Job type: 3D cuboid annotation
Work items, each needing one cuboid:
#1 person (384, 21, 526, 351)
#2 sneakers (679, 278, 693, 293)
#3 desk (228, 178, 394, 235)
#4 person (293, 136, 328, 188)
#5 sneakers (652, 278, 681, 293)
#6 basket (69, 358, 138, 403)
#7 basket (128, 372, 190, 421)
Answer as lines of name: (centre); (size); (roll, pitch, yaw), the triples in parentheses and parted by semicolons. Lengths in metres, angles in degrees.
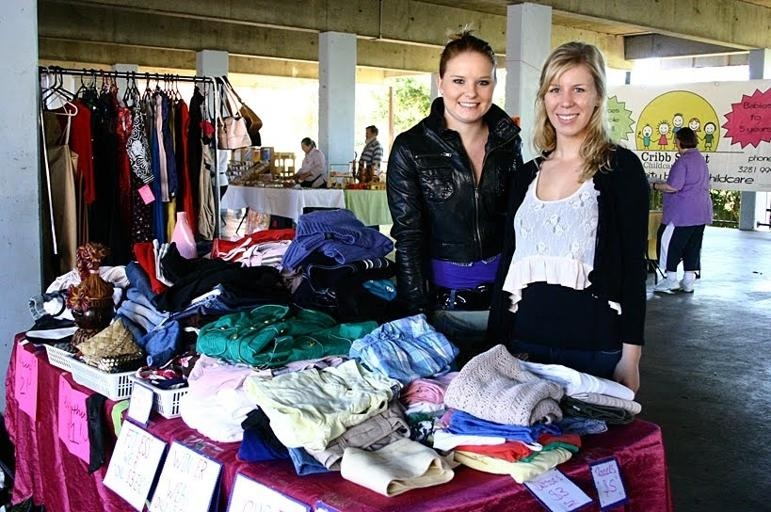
person: (0.367, 0.043, 2.378); (0.582, 1.768, 0.552); (-5, 32, 4)
sneakers: (3.798, 0.378, 7.047); (0.093, 0.111, 0.239); (-2, -2, -8)
desk: (-1.101, -0.636, 7.307); (2.240, 0.534, 0.961); (4, 12, 13)
person: (-1.125, -1.322, 8.081); (0.557, 0.711, 0.427); (-1, 14, 12)
sneakers: (3.550, 0.360, 7.152); (0.173, 0.170, 0.397); (-3, 4, -23)
basket: (-1.006, 0.409, 1.995); (0.212, 0.076, 0.145); (17, 13, 34)
basket: (-0.747, 0.450, 1.848); (0.116, 0.063, 0.163); (-5, 16, -45)
